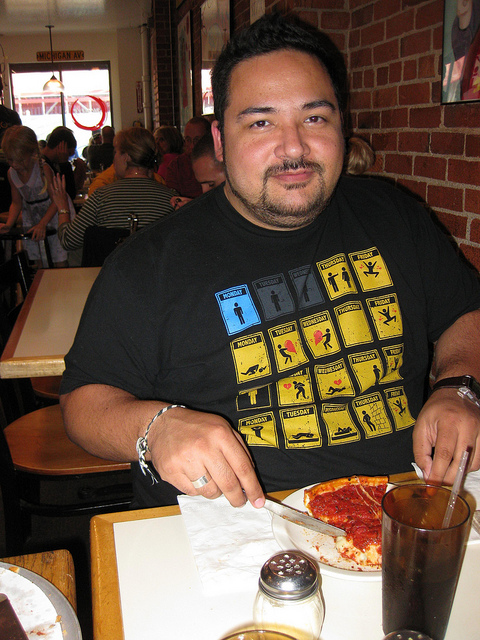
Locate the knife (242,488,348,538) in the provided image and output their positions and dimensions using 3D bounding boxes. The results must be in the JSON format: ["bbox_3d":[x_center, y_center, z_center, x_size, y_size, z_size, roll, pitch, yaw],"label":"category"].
[{"bbox_3d":[0.066,0.274,0.675,0.022,0.019,0.236,-50,19,-23],"label":"knife"}]

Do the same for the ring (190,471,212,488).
[{"bbox_3d":[-0.051,0.215,0.632,0.021,0.015,0.022,-27,8,4],"label":"ring"}]

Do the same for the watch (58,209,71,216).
[{"bbox_3d":[-1.252,-0.767,3.399,0.042,0.031,0.110,3,15,13],"label":"watch"}]
